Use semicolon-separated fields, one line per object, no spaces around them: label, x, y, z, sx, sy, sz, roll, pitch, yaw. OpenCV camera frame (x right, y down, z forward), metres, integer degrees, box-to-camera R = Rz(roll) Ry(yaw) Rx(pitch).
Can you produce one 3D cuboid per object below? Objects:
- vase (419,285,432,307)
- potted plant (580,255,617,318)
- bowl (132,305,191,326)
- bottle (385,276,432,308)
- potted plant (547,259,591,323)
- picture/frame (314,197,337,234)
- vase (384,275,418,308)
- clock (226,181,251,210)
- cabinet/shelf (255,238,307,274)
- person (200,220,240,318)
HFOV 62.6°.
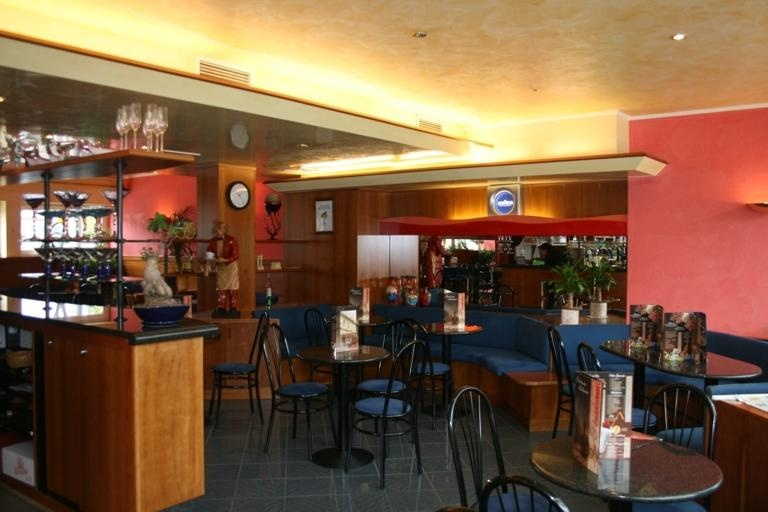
vase;0.610;0.589;9.126;0.236;0.267;0.238;-3;4;-33
potted plant;2.624;0.411;7.837;0.485;0.684;0.481;6;-5;-38
bowl;-1.781;0.463;5.029;0.385;0.167;0.256;0;1;-19
bottle;0.347;0.523;9.248;0.499;0.341;0.475;1;-1;0
potted plant;2.315;0.437;7.914;0.451;0.723;1.002;1;1;17
picture/frame;-0.872;-0.620;9.604;0.607;0.688;0.057;-1;0;38
vase;0.325;0.520;9.334;0.431;0.680;0.447;0;1;28
clock;-1.965;-0.810;8.455;0.060;0.408;0.441;0;0;37
cabinet/shelf;-1.783;-0.042;10.809;0.789;0.481;3.712;0;1;-12
person;-2.080;0.146;8.116;0.407;1.167;0.625;0;2;-16
